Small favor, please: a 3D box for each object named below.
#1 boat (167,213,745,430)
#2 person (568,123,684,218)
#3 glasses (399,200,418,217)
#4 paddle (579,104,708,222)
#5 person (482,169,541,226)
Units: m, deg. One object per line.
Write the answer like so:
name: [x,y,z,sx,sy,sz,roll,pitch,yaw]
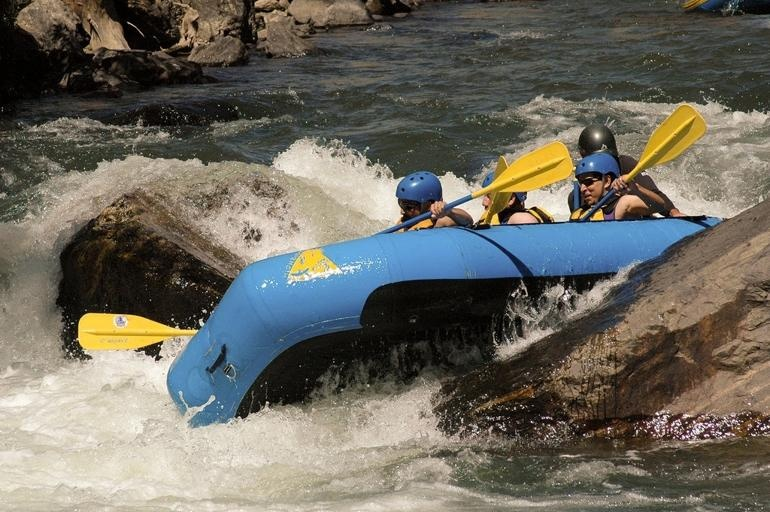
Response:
boat: [0.483,0.500,14.308,5.811,2.860,1.070,-10,82,-17]
person: [3.315,-1.104,15.946,2.687,0.724,0.846,4,27,7]
glasses: [0.320,-0.594,14.975,0.279,0.118,0.192,-2,9,-16]
paddle: [3.572,-1.374,15.196,0.986,1.109,0.452,-18,43,-16]
person: [1.595,-0.729,14.808,0.759,0.599,0.502,-30,61,-8]
